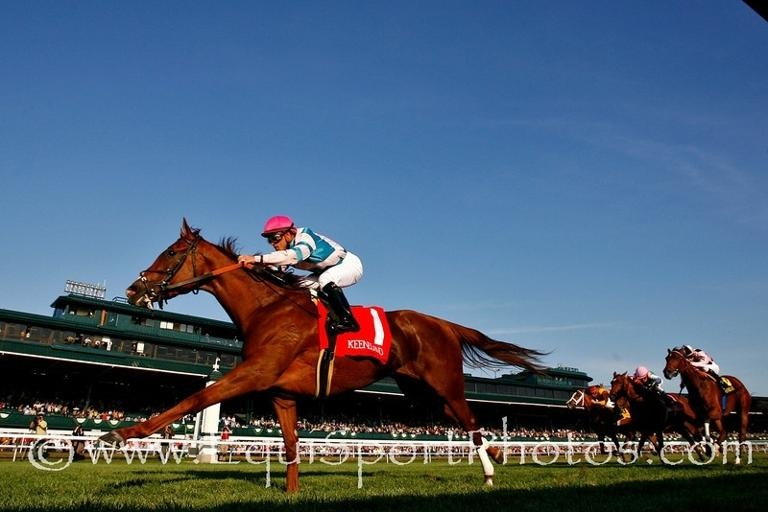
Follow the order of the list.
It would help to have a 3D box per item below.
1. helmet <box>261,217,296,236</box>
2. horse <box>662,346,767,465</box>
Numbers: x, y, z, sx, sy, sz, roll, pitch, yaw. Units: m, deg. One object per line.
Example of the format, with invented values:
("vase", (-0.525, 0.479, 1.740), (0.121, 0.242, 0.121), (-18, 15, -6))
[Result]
("helmet", (-1.830, -0.529, 12.177), (0.550, 0.277, 0.391), (8, -28, -30))
("horse", (9.509, 4.214, 20.323), (1.913, 3.218, 4.695), (-10, -16, 25))
